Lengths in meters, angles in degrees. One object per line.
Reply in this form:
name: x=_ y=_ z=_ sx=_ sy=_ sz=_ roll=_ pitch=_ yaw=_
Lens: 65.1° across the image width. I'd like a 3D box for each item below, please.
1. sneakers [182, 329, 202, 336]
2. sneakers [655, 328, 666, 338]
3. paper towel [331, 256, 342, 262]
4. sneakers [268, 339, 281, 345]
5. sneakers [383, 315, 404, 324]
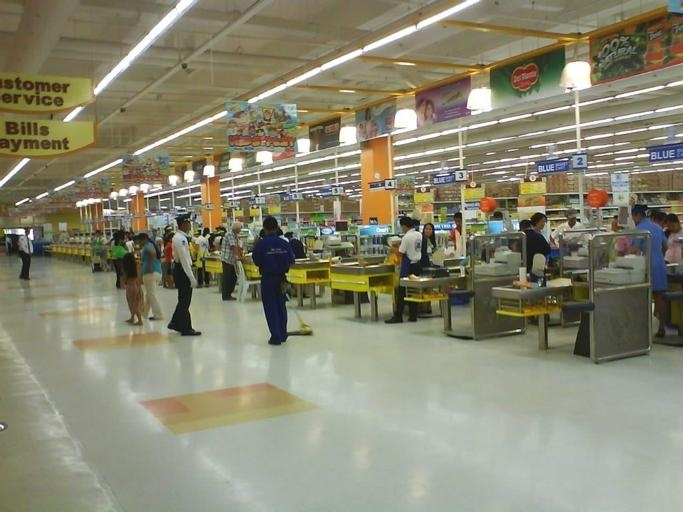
sneakers: x=-2.565 y=1.298 z=9.160 sx=0.362 sy=0.140 sz=0.119 roll=-1 pitch=-6 yaw=-4
sneakers: x=4.511 y=1.068 z=7.568 sx=0.116 sy=0.124 sz=0.256 roll=1 pitch=7 yaw=30
paper towel: x=-0.113 y=0.064 z=10.803 sx=0.171 sy=0.147 sz=0.110 roll=-4 pitch=-6 yaw=43
sneakers: x=-1.027 y=1.295 z=8.179 sx=0.211 sy=0.088 sz=0.214 roll=-3 pitch=6 yaw=-2
sneakers: x=0.924 y=1.124 z=9.507 sx=0.360 sy=0.227 sz=0.121 roll=2 pitch=-4 yaw=1
